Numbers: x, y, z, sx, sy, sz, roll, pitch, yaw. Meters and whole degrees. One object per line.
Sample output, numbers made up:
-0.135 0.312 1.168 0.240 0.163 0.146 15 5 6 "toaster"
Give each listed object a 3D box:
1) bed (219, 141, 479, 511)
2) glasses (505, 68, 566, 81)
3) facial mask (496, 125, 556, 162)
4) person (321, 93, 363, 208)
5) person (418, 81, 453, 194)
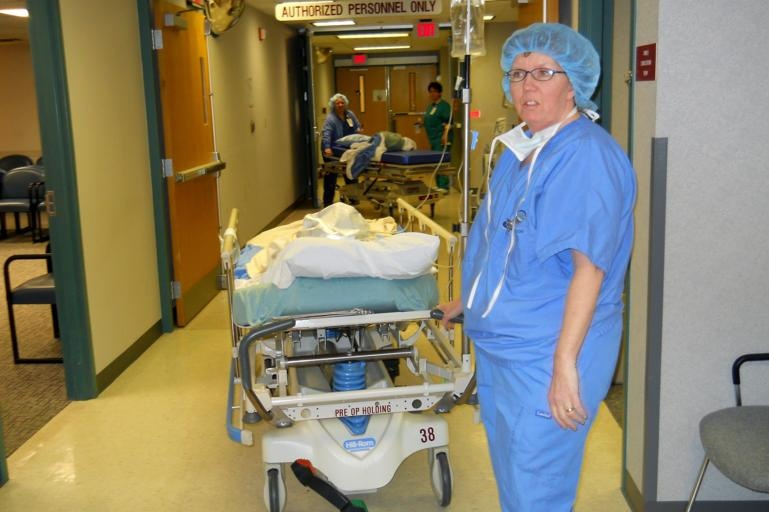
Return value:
-0.230 0.298 3.696 1.313 1.745 1.181 0 12 -9 "bed"
0.578 -0.688 2.539 0.193 0.052 0.073 4 15 23 "glasses"
0.533 -0.453 2.644 0.189 0.137 0.267 -1 16 0 "facial mask"
-0.731 -1.489 9.975 0.631 1.794 0.693 3 18 10 "person"
0.789 -1.831 10.315 0.447 1.653 0.664 -10 18 -31 "person"
